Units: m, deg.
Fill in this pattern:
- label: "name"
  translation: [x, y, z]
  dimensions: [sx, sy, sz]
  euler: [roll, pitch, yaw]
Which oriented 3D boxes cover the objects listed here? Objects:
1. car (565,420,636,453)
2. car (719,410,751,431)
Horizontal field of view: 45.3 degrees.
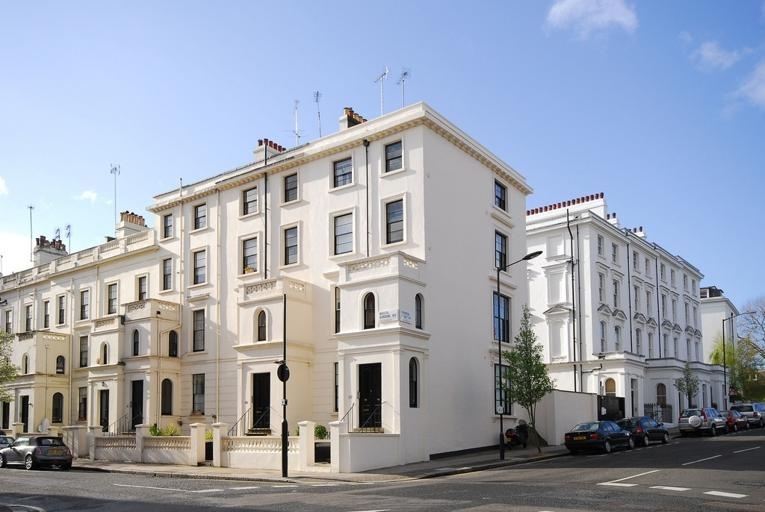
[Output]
- label: "car"
  translation: [13.559, 11.440, 57.605]
  dimensions: [4.181, 2.069, 1.946]
  euler: [11, -22, -33]
- label: "car"
  translation: [27.920, 13.204, 72.952]
  dimensions: [3.044, 1.279, 1.628]
  euler: [3, -7, -43]
